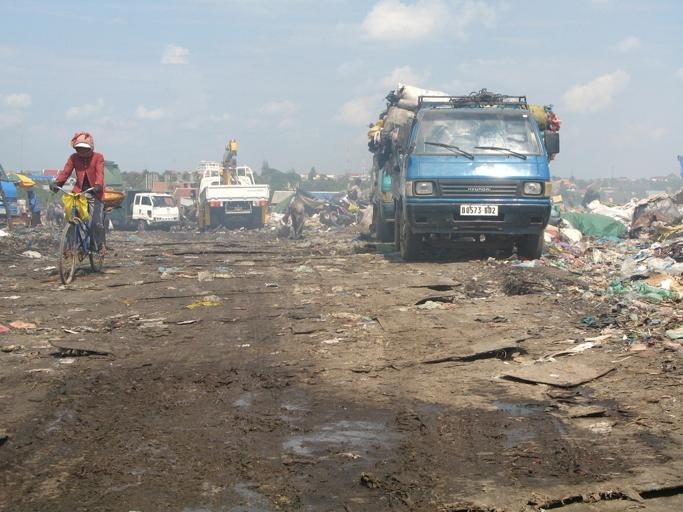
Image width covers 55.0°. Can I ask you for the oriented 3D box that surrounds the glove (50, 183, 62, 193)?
[{"bbox_3d":[-3.728,-0.898,8.487,0.175,0.066,0.209,-6,15,-32],"label":"glove"}]

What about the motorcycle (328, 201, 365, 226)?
[{"bbox_3d":[0.152,-1.785,26.826,1.356,0.847,1.882,-1,12,0],"label":"motorcycle"}]

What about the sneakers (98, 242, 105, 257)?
[{"bbox_3d":[-3.449,-0.107,9.287,0.069,0.148,0.121,-11,3,17],"label":"sneakers"}]

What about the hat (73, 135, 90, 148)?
[{"bbox_3d":[-3.430,-1.509,8.600,0.239,0.192,0.137,-6,14,-19],"label":"hat"}]

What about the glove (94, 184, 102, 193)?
[{"bbox_3d":[-3.273,-0.908,8.773,0.090,0.073,0.099,-3,6,-5],"label":"glove"}]

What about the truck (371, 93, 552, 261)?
[{"bbox_3d":[1.856,-1.769,11.347,2.685,2.226,4.544,1,16,-4],"label":"truck"}]

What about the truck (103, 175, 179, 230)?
[{"bbox_3d":[-8.164,-1.840,26.987,2.602,1.670,1.955,-5,13,-17],"label":"truck"}]
